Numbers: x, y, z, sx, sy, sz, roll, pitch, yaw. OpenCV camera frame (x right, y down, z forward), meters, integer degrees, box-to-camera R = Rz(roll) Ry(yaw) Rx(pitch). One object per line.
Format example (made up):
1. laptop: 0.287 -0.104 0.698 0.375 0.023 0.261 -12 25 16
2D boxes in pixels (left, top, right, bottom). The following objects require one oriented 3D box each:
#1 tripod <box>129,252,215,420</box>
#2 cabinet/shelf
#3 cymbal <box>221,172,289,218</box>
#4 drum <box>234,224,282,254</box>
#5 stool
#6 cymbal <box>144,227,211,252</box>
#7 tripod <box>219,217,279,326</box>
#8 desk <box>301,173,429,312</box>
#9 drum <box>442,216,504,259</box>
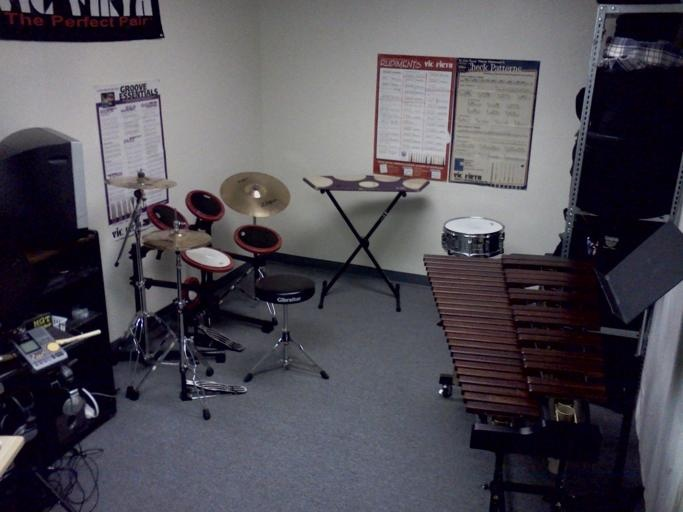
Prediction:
1. tripod: -1.130 0.464 4.174 0.781 1.158 0.749 1 12 -3
2. cabinet/shelf: 1.876 -0.765 3.594 0.639 1.587 0.719 9 22 22
3. cymbal: -0.761 -0.555 4.962 0.587 0.318 0.436 -2 20 -8
4. drum: -0.724 -0.135 4.956 0.382 0.226 0.424 9 22 22
5. stool: -0.478 0.583 4.352 0.563 0.755 0.638 -10 20 -37
6. cymbal: -1.123 -0.113 3.775 0.247 0.061 0.249 -8 30 -24
7. tripod: -0.707 0.093 5.092 0.503 0.681 0.516 -23 34 -24
8. desk: 0.297 -0.152 5.691 1.181 1.159 0.690 1 22 4
9. drum: 1.135 -0.162 4.764 0.502 0.231 0.506 1 20 0
